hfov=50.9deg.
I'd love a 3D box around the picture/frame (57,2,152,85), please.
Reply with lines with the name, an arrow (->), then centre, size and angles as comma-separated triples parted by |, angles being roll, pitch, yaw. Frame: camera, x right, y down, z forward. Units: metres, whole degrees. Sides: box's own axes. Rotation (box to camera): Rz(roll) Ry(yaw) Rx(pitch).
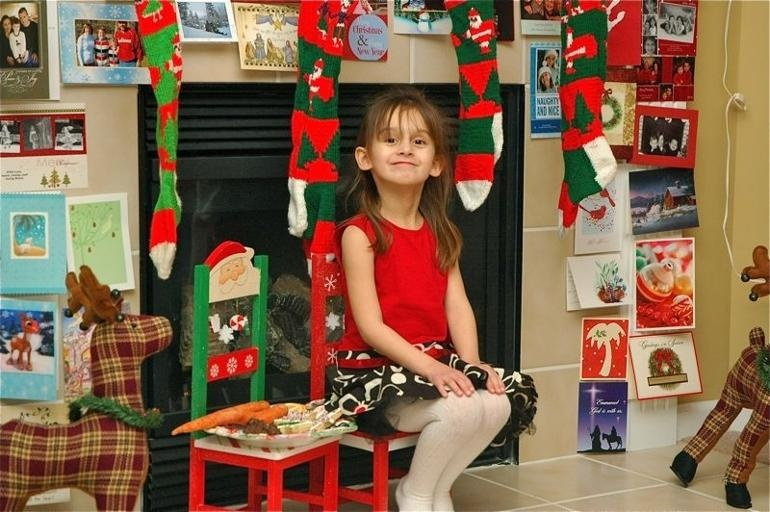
picture/frame -> -0.802, -0.609, 2.285 | 0.209, 0.301, 0.010 | -4, 1, -4

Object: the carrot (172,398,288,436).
carrot -> -0.401, 0.434, 2.148 | 0.244, 0.052, 0.120 | -3, 3, -20

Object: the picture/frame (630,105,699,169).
picture/frame -> 0.949, -0.412, 2.784 | 0.191, 0.174, 0.029 | 8, 1, -18

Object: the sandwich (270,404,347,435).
sandwich -> -0.215, 0.451, 2.207 | 0.095, 0.030, 0.094 | -9, 6, -30
